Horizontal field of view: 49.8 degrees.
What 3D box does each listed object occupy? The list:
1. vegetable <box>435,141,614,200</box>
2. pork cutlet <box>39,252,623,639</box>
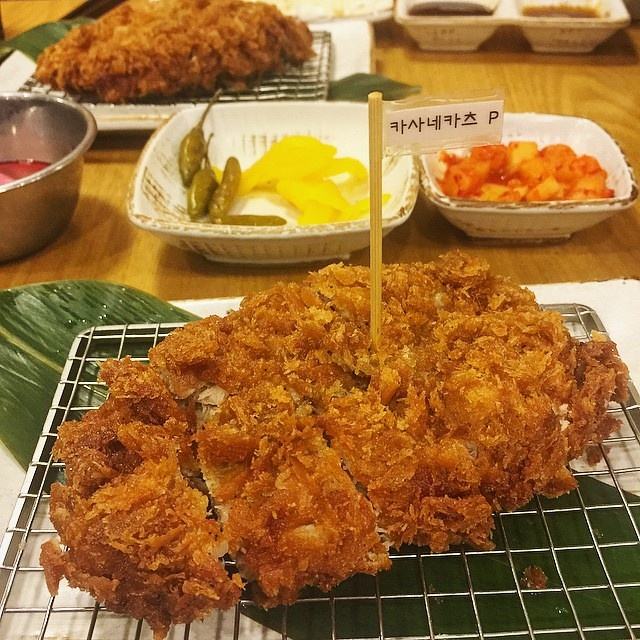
[{"bbox_3d":[0.672,-0.470,2.238,0.370,0.072,0.310,1,36,6],"label":"vegetable"},{"bbox_3d":[-0.034,0.276,1.447,1.184,0.372,0.582,-12,53,-12],"label":"pork cutlet"}]
